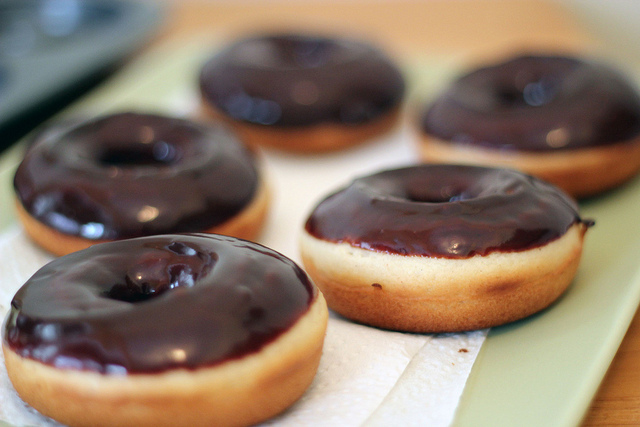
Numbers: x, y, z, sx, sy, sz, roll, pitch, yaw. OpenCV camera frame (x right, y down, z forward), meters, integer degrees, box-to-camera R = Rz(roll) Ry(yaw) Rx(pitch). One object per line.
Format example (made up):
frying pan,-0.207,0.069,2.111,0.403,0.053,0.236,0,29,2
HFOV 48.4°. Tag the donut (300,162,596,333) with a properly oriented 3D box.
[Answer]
donut,0.271,0.054,1.611,0.570,0.209,0.473,17,48,24
